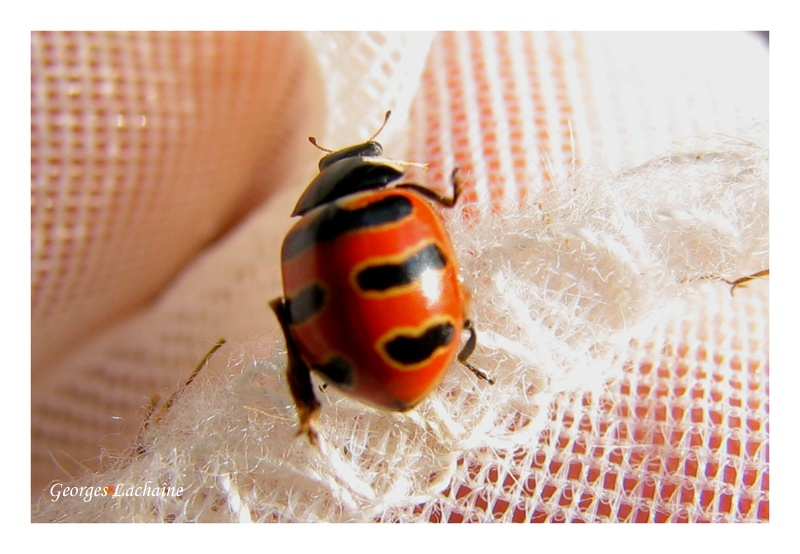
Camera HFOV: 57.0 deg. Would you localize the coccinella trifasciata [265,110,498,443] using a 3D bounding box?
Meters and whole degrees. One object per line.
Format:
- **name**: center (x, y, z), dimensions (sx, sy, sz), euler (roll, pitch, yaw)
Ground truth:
- **coccinella trifasciata**: center (-0.027, 0.010, 0.656), dimensions (0.177, 0.095, 0.279), euler (-12, 74, 12)
